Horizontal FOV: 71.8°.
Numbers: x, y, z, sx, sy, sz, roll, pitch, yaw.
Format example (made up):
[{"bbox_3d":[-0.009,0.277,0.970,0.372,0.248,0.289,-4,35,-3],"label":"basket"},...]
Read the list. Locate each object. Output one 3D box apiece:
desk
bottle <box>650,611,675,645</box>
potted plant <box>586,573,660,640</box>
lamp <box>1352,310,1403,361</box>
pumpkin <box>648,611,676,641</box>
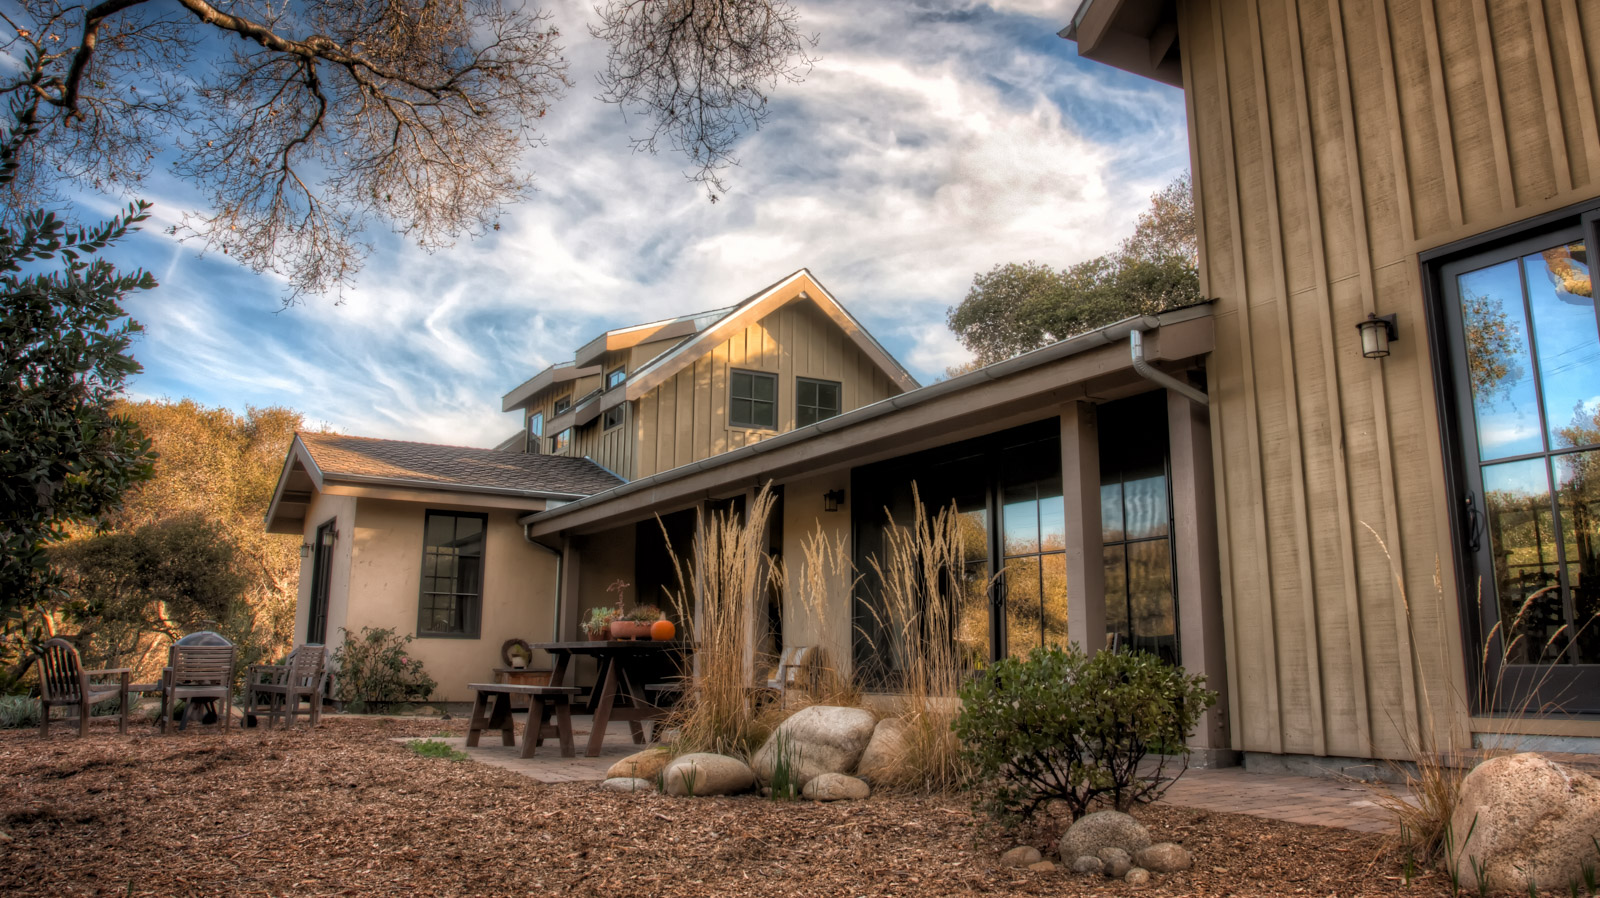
[{"bbox_3d":[-1.775,2.641,10.364,1.040,1.214,1.901,7,-16,-24],"label":"desk"},{"bbox_3d":[-1.280,1.710,10.439,0.223,0.269,0.229,3,-15,-2],"label":"bottle"},{"bbox_3d":[-2.163,1.889,13.352,0.906,0.597,0.851,-1,-6,-17],"label":"potted plant"},{"bbox_3d":[4.313,-0.851,8.238,0.283,0.338,0.183,-6,-16,25],"label":"lamp"},{"bbox_3d":[-1.261,1.684,10.464,0.254,0.294,0.243,8,-12,-31],"label":"pumpkin"}]
